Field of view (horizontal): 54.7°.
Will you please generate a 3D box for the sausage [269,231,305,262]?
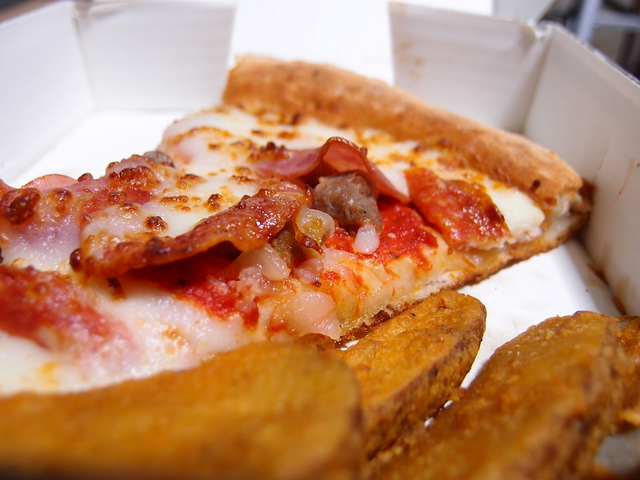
[{"bbox_3d":[-0.130,0.028,2.442,0.169,0.036,0.134,19,43,-9],"label":"sausage"}]
